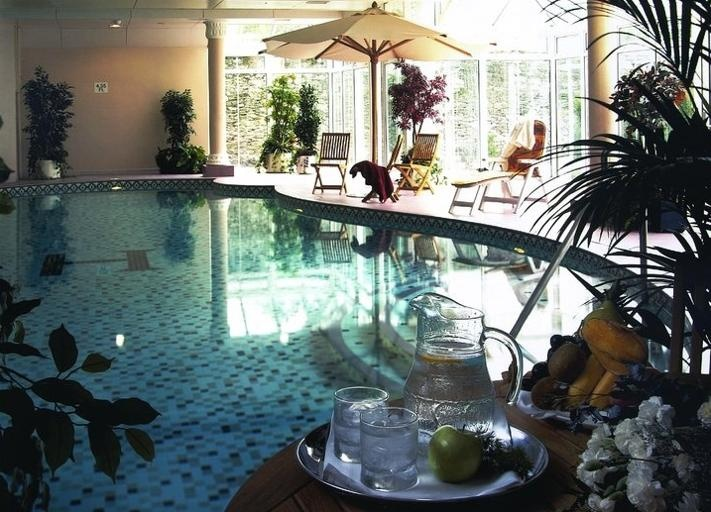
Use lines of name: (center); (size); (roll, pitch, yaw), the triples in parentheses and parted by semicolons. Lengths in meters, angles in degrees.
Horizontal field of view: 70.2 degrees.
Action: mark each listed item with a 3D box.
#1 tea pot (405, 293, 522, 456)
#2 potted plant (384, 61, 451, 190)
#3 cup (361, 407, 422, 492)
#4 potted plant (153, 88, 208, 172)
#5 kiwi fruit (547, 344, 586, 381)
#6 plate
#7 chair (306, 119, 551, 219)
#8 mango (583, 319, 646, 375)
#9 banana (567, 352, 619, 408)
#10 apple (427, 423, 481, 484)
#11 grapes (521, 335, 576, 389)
tea pot: (0.213, 0.223, 1.062); (0.163, 0.348, 0.157); (2, 11, 0)
potted plant: (1.307, -2.606, 11.519); (1.064, 3.184, 1.063); (-5, 11, -35)
cup: (0.064, 0.356, 0.943); (0.107, 0.120, 0.113); (0, 4, 0)
potted plant: (-5.520, -3.840, 15.819); (1.335, 2.529, 1.115); (-8, 15, -31)
kiwi fruit: (0.481, 0.248, 1.167); (0.066, 0.070, 0.088); (-4, -28, -23)
plate: (0.113, 0.366, 0.970); (0.330, 0.081, 0.306); (1, 2, -26)
chair: (1.538, -1.751, 10.232); (3.771, 1.662, 2.578); (4, 5, 42)
mango: (0.554, 0.196, 1.100); (0.129, 0.108, 0.060); (7, 15, 29)
banana: (0.534, 0.268, 1.152); (0.064, 0.118, 0.088); (6, 8, 35)
apple: (0.178, 0.367, 0.926); (0.095, 0.093, 0.095); (9, -6, 17)
grapes: (0.463, 0.268, 1.276); (0.096, 0.147, 0.122); (1, 8, -9)
